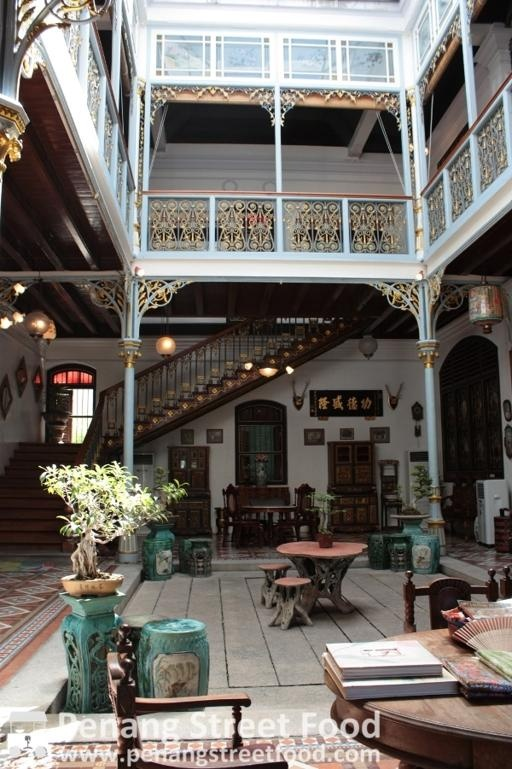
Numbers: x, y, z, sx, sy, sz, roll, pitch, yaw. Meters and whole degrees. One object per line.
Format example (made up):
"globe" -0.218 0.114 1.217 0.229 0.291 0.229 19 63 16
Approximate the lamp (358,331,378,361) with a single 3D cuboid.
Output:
"lamp" 2.561 -0.889 13.190 0.523 0.669 0.541 0 -6 -2

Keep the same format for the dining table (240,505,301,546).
"dining table" 0.260 2.804 11.321 1.096 0.682 1.115 -10 -18 35

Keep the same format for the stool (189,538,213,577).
"stool" -0.806 2.626 8.601 0.469 0.688 0.475 -1 -12 3

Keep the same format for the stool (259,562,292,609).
"stool" 0.199 2.345 6.740 0.502 0.541 0.504 0 -8 5

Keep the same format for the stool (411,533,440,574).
"stool" 2.503 2.489 8.341 0.492 0.485 0.466 -6 -9 23

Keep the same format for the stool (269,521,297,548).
"stool" 0.543 3.006 11.445 0.520 0.593 0.824 -1 1 1

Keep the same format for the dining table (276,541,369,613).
"dining table" 0.750 2.151 6.667 0.882 0.610 0.891 -1 -6 0

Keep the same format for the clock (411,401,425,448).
"clock" 3.967 0.895 13.937 0.296 0.902 0.107 1 -9 -7

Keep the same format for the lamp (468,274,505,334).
"lamp" 3.303 -1.117 8.147 0.462 0.705 0.452 -5 -10 25

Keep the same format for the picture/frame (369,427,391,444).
"picture/frame" 2.986 1.257 13.768 0.391 0.344 0.030 1 -9 -7

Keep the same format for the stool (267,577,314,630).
"stool" 0.342 2.235 5.964 0.487 0.487 0.496 -1 1 -3

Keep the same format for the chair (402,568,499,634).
"chair" 0.917 1.026 2.695 0.421 0.320 0.535 -3 -9 15

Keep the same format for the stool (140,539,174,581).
"stool" -1.408 2.518 8.352 0.533 0.741 0.533 1 0 -5

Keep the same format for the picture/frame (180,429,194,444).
"picture/frame" -1.611 1.247 13.260 0.337 0.429 0.030 -1 -4 -3

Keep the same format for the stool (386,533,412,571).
"stool" 2.223 2.607 8.790 0.376 0.562 0.340 -4 -10 19

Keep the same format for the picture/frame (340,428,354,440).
"picture/frame" 2.192 1.223 13.720 0.282 0.254 0.021 1 -12 -4

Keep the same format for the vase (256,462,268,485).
"vase" 0.135 2.082 13.093 0.247 0.526 0.645 -1 -9 1

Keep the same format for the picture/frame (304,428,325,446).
"picture/frame" 1.392 1.292 13.628 0.405 0.360 0.042 1 -13 -3
